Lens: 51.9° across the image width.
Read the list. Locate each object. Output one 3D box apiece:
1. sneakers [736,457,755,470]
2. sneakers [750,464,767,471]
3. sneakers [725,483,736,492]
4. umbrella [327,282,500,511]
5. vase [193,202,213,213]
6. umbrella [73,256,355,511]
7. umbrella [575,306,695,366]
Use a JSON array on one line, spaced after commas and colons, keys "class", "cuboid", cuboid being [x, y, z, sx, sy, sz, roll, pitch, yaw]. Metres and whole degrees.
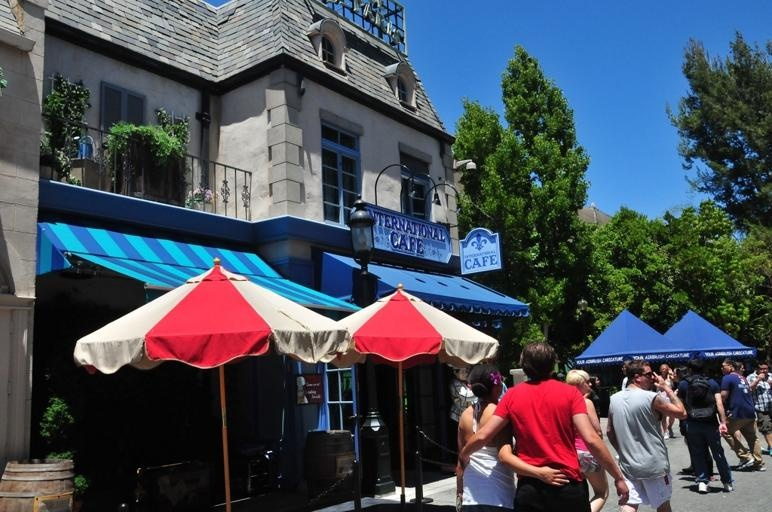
[{"class": "sneakers", "cuboid": [8.664, 4.965, 19.059, 0.381, 0.129, 0.250, -30, -42, -4]}, {"class": "sneakers", "cuboid": [8.956, 5.049, 19.007, 0.398, 0.185, 0.137, -4, -2, -20]}, {"class": "sneakers", "cuboid": [7.431, 4.967, 17.099, 0.207, 0.219, 0.135, 0, -5, 4]}, {"class": "umbrella", "cuboid": [0.308, 2.867, 16.971, 3.794, 4.918, 3.879, 1, -1, 11]}, {"class": "vase", "cuboid": [-4.630, -1.225, 20.084, 0.221, 0.217, 0.310, -7, -9, 41]}, {"class": "umbrella", "cuboid": [-2.845, 2.004, 15.122, 4.278, 4.689, 4.515, -5, -9, 22]}, {"class": "umbrella", "cuboid": [7.350, 2.610, 23.749, 2.111, 1.181, 2.174, 4, -13, -22]}]
